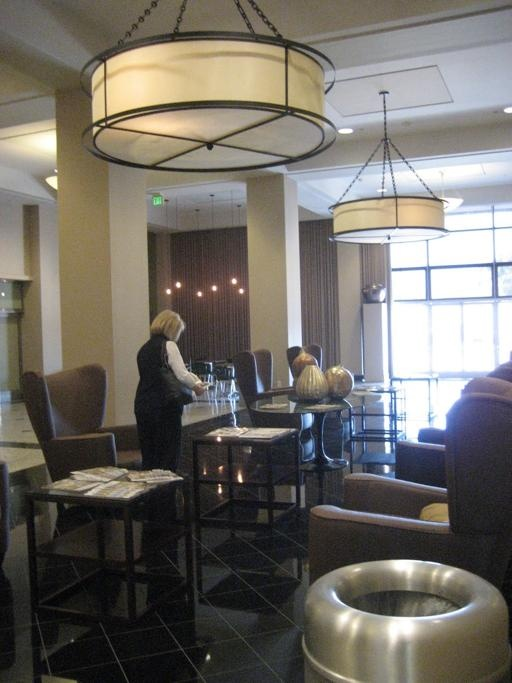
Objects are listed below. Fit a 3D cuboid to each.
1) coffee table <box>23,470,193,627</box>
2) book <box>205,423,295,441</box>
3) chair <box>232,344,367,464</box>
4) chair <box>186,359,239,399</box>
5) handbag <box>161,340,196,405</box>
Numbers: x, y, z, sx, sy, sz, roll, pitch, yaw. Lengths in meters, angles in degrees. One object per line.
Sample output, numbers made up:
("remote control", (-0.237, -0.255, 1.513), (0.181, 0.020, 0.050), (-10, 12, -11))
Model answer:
("coffee table", (-0.666, 1.060, 3.165), (0.681, 0.701, 0.854), (1, 0, 20))
("book", (-0.044, 0.662, 4.415), (0.544, 0.063, 0.635), (-2, -4, 15))
("chair", (0.278, 0.630, 6.611), (1.220, 1.395, 1.076), (-2, -3, 24))
("chair", (-0.830, 0.797, 12.790), (0.858, 1.003, 1.427), (-2, 2, -15))
("handbag", (-0.526, 0.267, 4.385), (0.098, 0.353, 0.291), (-5, -5, 37))
